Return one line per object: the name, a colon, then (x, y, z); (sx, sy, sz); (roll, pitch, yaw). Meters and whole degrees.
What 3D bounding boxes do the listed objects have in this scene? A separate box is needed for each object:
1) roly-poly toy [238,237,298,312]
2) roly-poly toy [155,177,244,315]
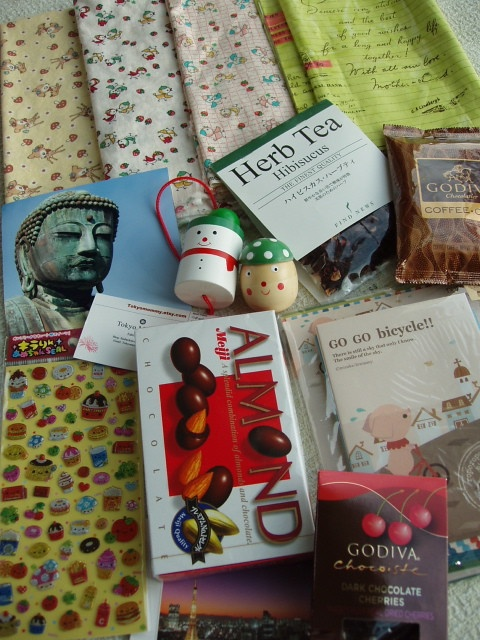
roly-poly toy: (0.038, -0.057, 0.717); (0.080, 0.097, 0.078); (0, 14, 18)
roly-poly toy: (-0.053, -0.099, 0.714); (0.085, 0.085, 0.173); (2, 55, -1)
